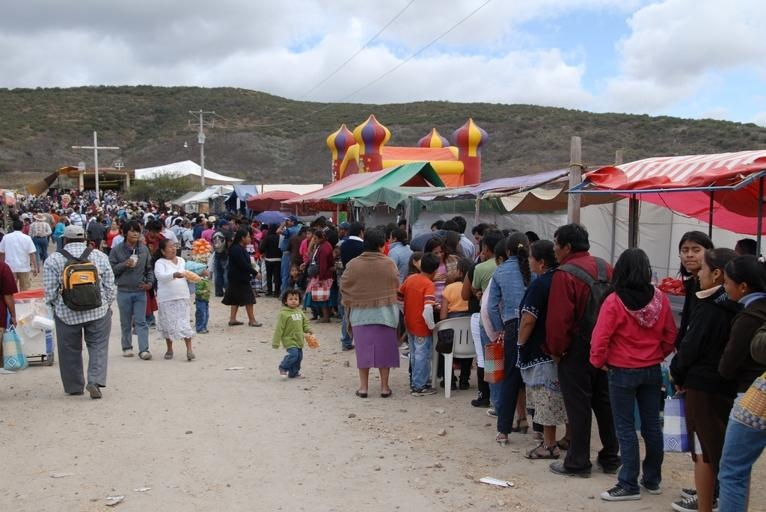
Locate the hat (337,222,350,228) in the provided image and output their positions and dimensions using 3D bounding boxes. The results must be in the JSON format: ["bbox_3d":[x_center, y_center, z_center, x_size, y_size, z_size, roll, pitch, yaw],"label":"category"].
[{"bbox_3d":[-0.730,-0.585,16.564,0.220,0.103,0.163,4,3,43],"label":"hat"}]

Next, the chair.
[{"bbox_3d":[0.817,1.308,12.126,0.786,0.967,0.809,4,-5,-34],"label":"chair"}]

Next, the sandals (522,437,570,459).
[{"bbox_3d":[1.839,2.177,10.132,0.436,0.160,0.203,2,-4,4],"label":"sandals"}]

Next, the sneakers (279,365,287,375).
[{"bbox_3d":[-1.418,1.637,12.779,0.095,0.105,0.118,-4,-1,-11],"label":"sneakers"}]

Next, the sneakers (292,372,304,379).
[{"bbox_3d":[-1.221,1.718,12.909,0.169,0.065,0.065,-7,4,-2],"label":"sneakers"}]

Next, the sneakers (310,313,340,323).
[{"bbox_3d":[-1.190,1.148,17.183,0.511,0.206,0.157,0,-2,37],"label":"sneakers"}]

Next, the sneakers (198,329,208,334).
[{"bbox_3d":[-3.174,1.328,15.852,0.166,0.065,0.058,-3,-1,-4],"label":"sneakers"}]

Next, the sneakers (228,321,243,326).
[{"bbox_3d":[-2.723,1.237,16.611,0.264,0.093,0.093,-1,1,-8],"label":"sneakers"}]

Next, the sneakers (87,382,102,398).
[{"bbox_3d":[-3.761,1.754,11.718,0.181,0.217,0.159,-4,12,-19],"label":"sneakers"}]

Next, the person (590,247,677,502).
[{"bbox_3d":[2.551,1.203,9.182,0.861,2.554,0.654,2,12,10],"label":"person"}]

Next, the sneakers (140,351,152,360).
[{"bbox_3d":[-3.607,1.515,13.671,0.108,0.080,0.231,14,-6,-34],"label":"sneakers"}]

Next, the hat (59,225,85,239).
[{"bbox_3d":[-4.101,-0.327,11.841,0.188,0.112,0.256,-7,15,-34],"label":"hat"}]

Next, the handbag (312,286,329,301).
[{"bbox_3d":[-1.165,0.699,16.557,0.400,0.267,0.224,0,-3,-4],"label":"handbag"}]

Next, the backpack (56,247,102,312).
[{"bbox_3d":[-3.974,0.304,11.751,0.470,0.783,0.407,-4,12,-20],"label":"backpack"}]
